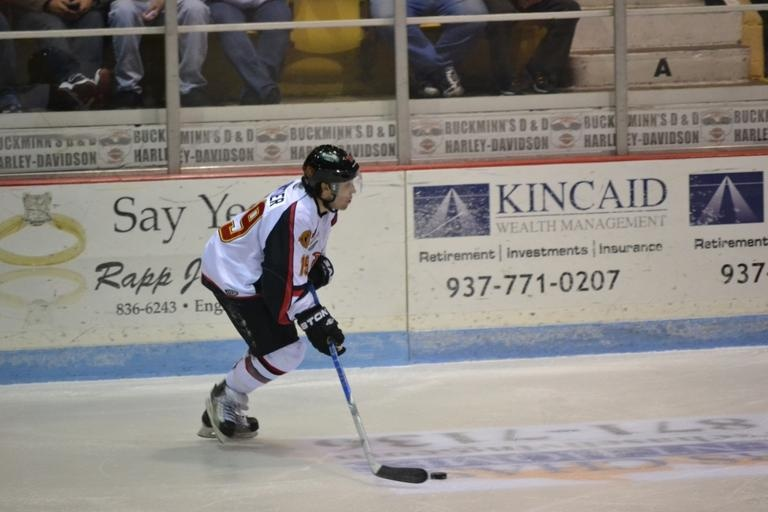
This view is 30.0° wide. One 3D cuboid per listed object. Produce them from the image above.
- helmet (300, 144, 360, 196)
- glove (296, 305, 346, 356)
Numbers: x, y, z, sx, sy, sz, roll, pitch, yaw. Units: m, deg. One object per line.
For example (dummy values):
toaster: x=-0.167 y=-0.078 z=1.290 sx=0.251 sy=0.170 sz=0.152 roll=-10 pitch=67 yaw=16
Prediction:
helmet: x=-0.382 y=-0.607 z=10.127 sx=0.401 sy=0.339 sz=0.128 roll=-1 pitch=10 yaw=-2
glove: x=-0.438 y=0.517 z=10.137 sx=0.266 sy=0.409 sz=0.125 roll=-38 pitch=0 yaw=0
